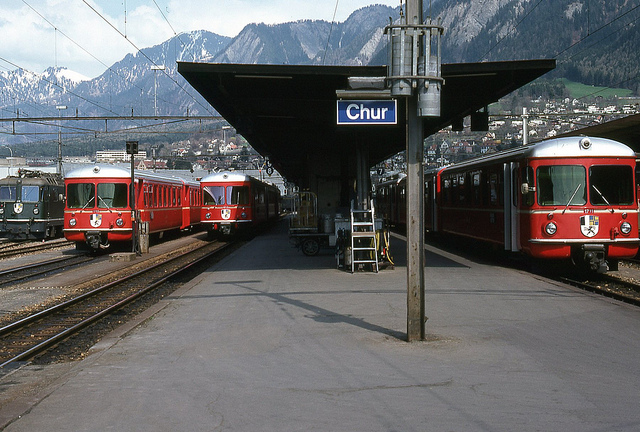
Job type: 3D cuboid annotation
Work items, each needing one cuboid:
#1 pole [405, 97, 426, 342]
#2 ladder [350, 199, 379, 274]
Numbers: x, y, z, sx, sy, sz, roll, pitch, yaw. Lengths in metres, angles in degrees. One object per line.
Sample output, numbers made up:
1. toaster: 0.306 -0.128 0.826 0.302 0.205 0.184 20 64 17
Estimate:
1. pole: 1.728 0.065 11.625 0.382 4.474 0.424 -1 4 8
2. ladder: 1.325 0.608 19.172 0.773 2.217 0.838 -4 -6 31
